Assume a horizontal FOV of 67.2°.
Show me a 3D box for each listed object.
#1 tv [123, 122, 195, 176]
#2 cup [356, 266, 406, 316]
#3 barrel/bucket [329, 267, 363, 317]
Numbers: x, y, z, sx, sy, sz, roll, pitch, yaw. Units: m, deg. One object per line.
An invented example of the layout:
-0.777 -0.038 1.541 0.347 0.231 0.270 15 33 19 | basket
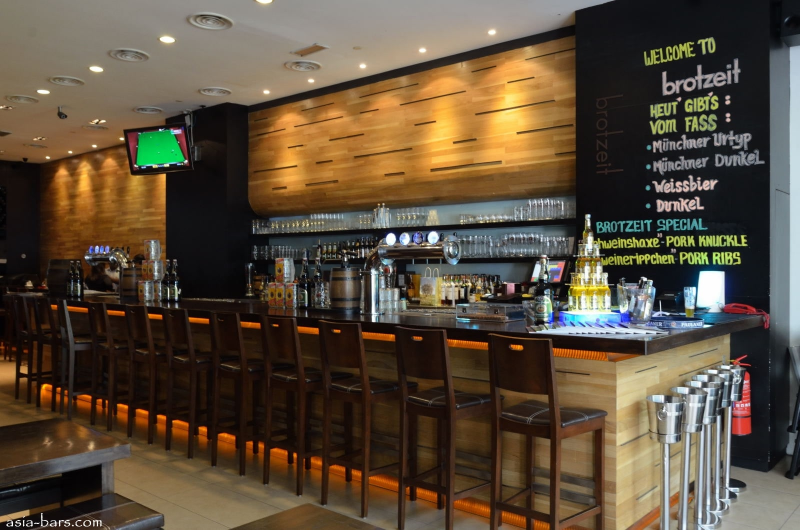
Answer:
-3.676 -1.771 9.203 1.158 0.761 0.147 -6 7 6 | tv
-0.209 0.266 5.799 0.553 0.468 0.325 0 0 -31 | cup
-0.540 0.253 5.960 0.440 0.529 0.392 1 -4 -9 | barrel/bucket
